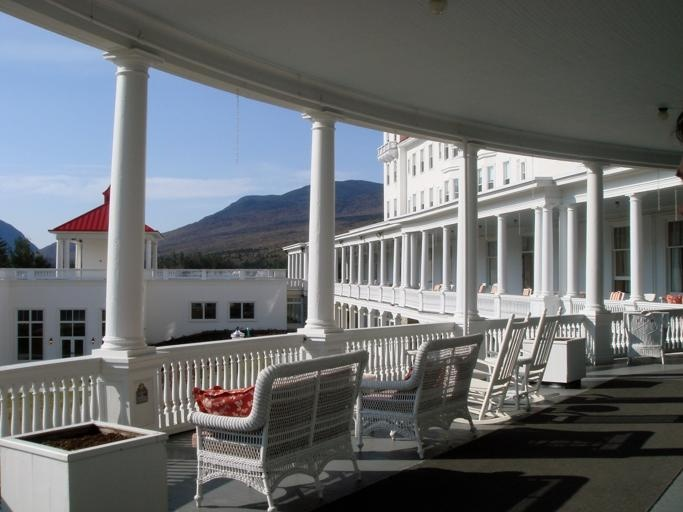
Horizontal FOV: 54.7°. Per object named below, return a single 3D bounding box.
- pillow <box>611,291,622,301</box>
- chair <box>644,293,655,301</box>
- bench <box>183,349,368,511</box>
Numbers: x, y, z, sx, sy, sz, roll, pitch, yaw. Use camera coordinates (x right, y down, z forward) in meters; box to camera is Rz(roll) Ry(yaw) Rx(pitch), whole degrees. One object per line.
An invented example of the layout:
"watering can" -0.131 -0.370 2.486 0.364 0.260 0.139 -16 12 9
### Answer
"pillow" 8.724 1.299 20.865 0.365 0.365 0.379 1 -3 34
"chair" 9.221 1.256 19.721 0.291 0.136 0.299 -1 -3 9
"bench" -0.584 1.761 6.832 1.833 1.441 0.734 -6 4 -33
